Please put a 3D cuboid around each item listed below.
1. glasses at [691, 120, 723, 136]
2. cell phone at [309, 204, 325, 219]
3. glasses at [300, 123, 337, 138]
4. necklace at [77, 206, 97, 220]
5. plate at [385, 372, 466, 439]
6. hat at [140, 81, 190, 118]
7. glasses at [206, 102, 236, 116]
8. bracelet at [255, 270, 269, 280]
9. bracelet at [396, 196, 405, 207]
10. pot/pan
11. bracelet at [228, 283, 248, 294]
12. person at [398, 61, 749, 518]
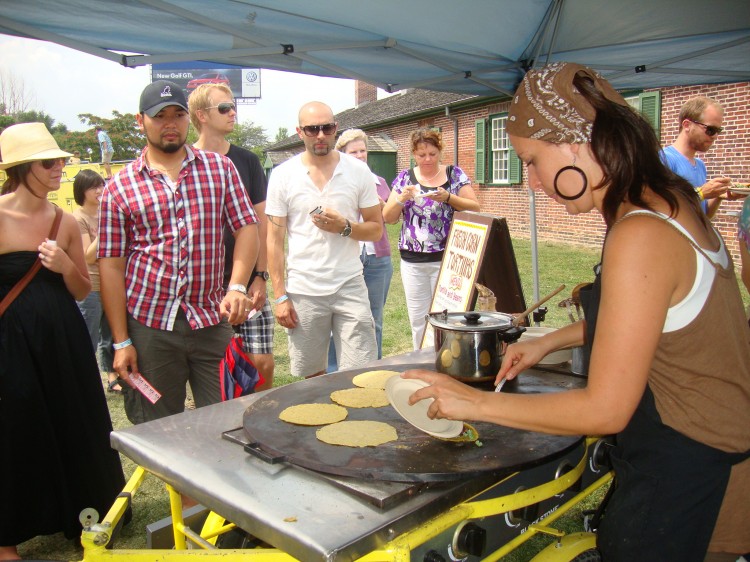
[{"bbox_3d":[2.882,-1.301,4.908,0.178,0.049,0.154,1,38,-17],"label":"glasses"},{"bbox_3d":[-0.413,-0.498,4.154,0.096,0.089,0.099,7,23,-17],"label":"cell phone"},{"bbox_3d":[-0.415,-1.123,4.258,0.258,0.112,0.136,-2,11,-10],"label":"glasses"},{"bbox_3d":[-2.750,-0.649,5.513,0.197,0.099,0.139,14,19,29],"label":"necklace"},{"bbox_3d":[0.173,0.473,2.123,0.255,0.032,0.248,25,31,17],"label":"plate"},{"bbox_3d":[-1.250,-1.043,3.337,0.267,0.165,0.352,-10,21,-32],"label":"hat"},{"bbox_3d":[-1.086,-1.261,4.166,0.116,0.044,0.119,25,33,35],"label":"glasses"},{"bbox_3d":[-0.751,-0.040,3.796,0.068,0.034,0.064,3,8,14],"label":"bracelet"},{"bbox_3d":[0.245,-0.718,5.194,0.068,0.058,0.061,-15,30,-30],"label":"bracelet"},{"bbox_3d":[0.440,0.265,2.506,0.455,0.224,0.321,0,0,44],"label":"pot/pan"},{"bbox_3d":[-0.801,0.041,3.319,0.098,0.052,0.092,12,-5,-5],"label":"bracelet"},{"bbox_3d":[0.749,0.004,1.842,0.938,1.370,0.669,5,12,25],"label":"person"}]
